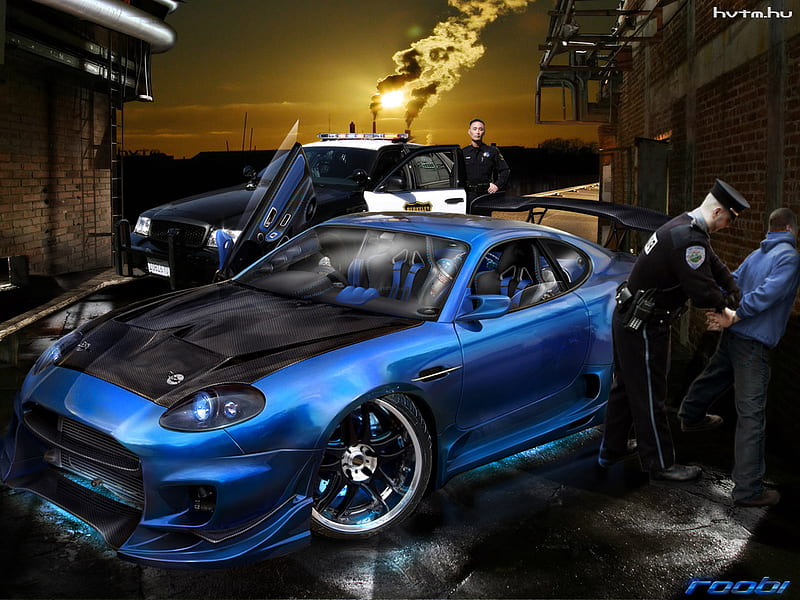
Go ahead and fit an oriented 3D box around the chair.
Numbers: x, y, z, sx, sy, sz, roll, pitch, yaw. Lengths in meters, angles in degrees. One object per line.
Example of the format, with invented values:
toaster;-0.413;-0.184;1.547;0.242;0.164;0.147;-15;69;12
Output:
chair;0.077;-0.174;3.939;0.669;0.418;1.035;14;13;24
